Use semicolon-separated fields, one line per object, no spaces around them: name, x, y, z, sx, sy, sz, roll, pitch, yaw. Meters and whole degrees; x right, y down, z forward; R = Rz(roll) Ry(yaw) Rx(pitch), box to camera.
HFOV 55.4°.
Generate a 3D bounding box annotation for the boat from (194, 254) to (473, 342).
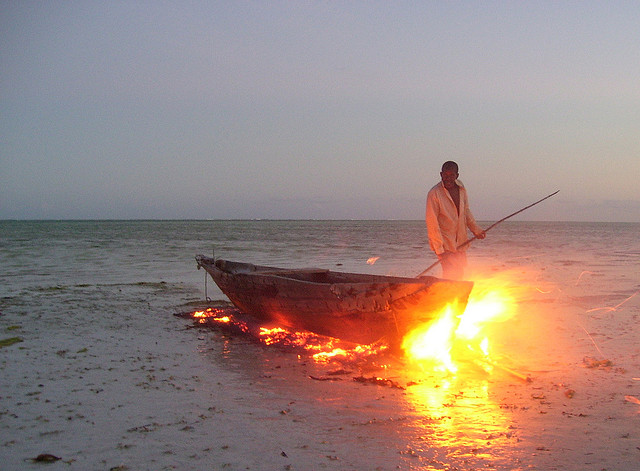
boat;-0.024;1.056;10.773;6.536;1.565;1.530;2;2;45
